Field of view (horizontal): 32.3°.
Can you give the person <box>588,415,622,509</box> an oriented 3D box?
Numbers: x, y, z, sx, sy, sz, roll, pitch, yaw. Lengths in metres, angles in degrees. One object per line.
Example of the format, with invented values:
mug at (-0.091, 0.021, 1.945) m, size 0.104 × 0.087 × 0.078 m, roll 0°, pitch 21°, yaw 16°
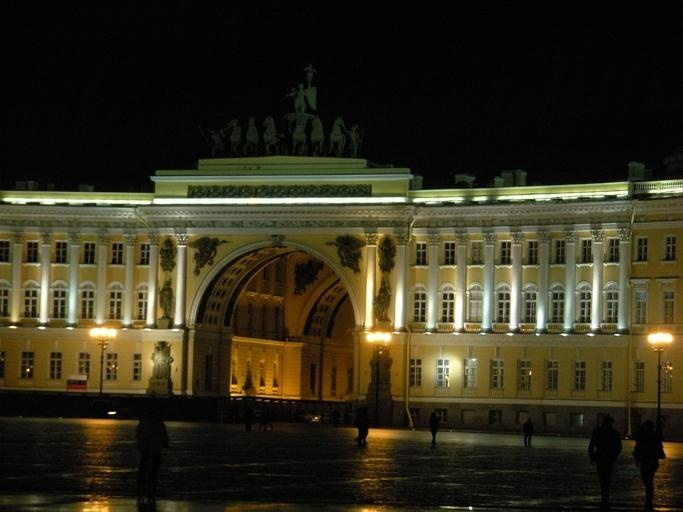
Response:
person at (6.556, 5.125, 29.232) m, size 0.752 × 2.258 × 0.986 m, roll -2°, pitch -10°, yaw 12°
